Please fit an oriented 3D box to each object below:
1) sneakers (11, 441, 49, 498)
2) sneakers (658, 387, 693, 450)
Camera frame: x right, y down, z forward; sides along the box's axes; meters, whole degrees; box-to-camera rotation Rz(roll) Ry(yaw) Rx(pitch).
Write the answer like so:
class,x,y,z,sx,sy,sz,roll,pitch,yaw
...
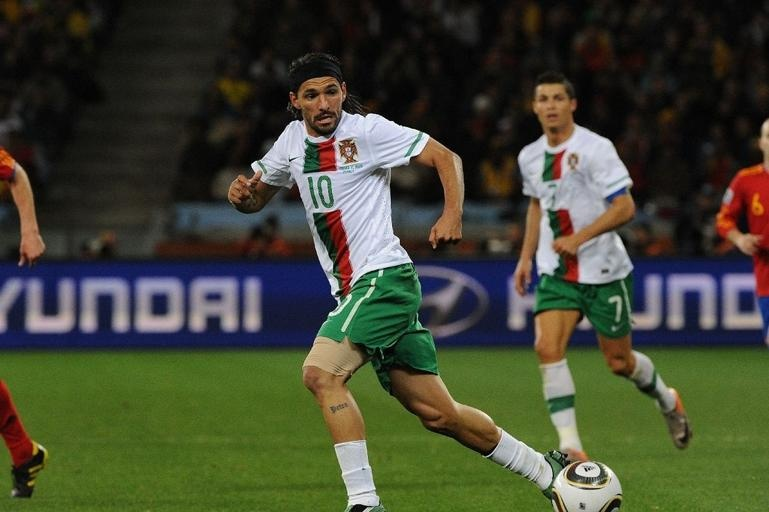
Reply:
class,x,y,z,sx,sy,sz,roll,pitch,yaw
sneakers,-3.043,1.862,8.208,0.190,0.568,0.246,11,4,33
sneakers,2.706,1.565,8.930,0.221,0.659,0.290,-18,-2,13
